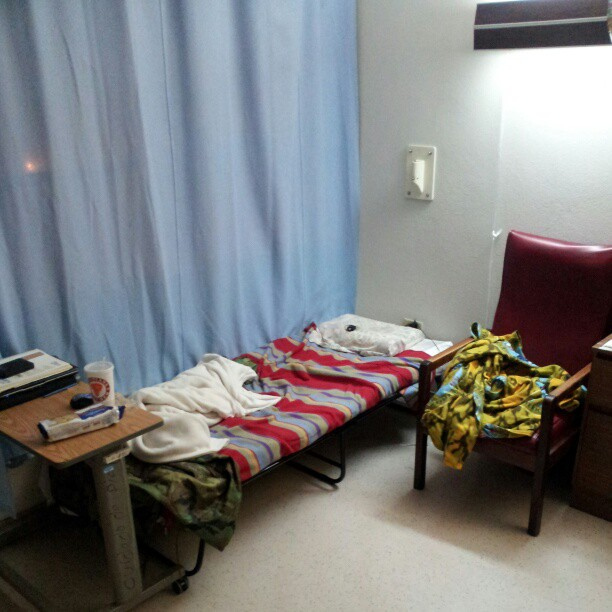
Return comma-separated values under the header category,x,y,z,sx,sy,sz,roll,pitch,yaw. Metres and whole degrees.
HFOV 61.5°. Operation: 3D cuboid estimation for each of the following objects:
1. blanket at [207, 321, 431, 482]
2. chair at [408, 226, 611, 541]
category,x,y,z,sx,sy,sz,roll,pitch,yaw
blanket,-0.074,0.367,2.537,0.850,0.169,1.371,11,15,31
chair,0.942,0.265,2.270,0.630,1.015,0.989,10,24,31
